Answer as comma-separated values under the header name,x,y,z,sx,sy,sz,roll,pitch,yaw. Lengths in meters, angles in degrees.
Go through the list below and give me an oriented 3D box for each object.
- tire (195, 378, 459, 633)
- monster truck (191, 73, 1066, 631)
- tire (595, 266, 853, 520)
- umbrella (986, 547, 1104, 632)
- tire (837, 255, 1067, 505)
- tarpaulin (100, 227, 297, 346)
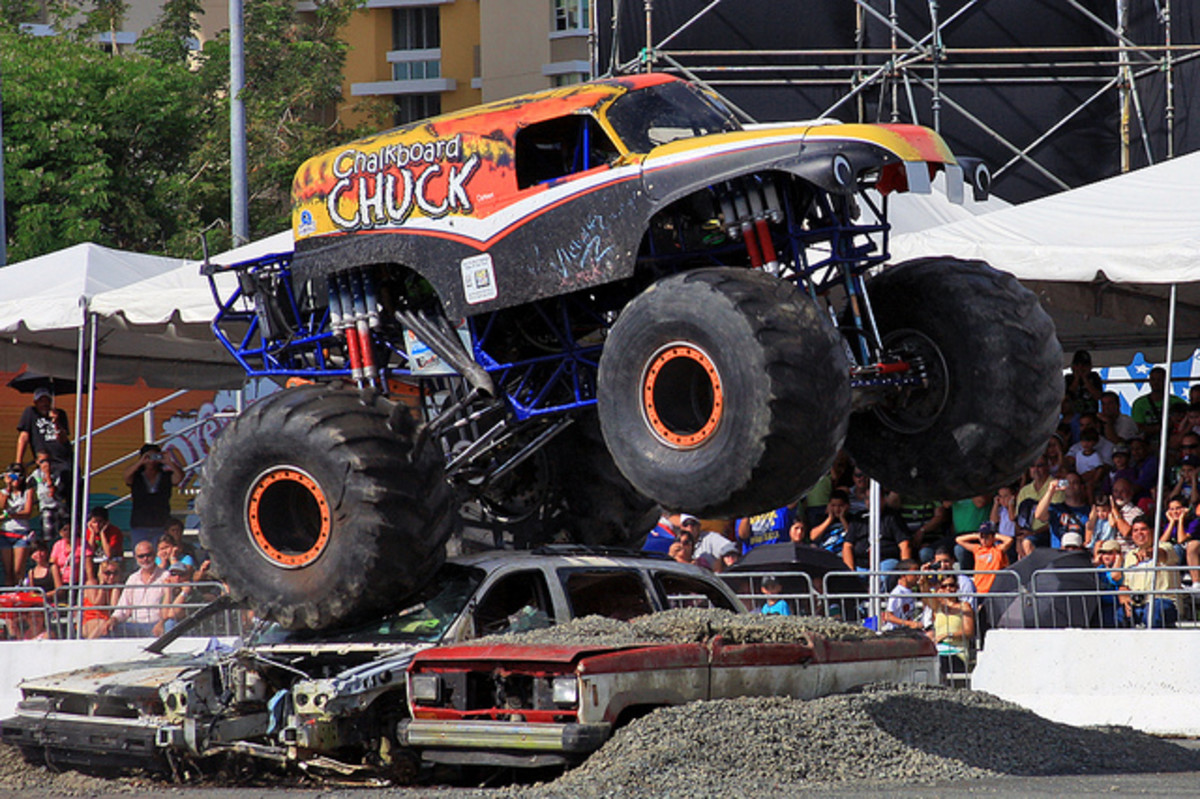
name,x,y,z,sx,sy,sz,roll,pitch,yaw
tire,-3.455,1.366,29.228,2.955,2.671,1.066,-3,1,37
monster truck,-0.241,-0.740,29.992,9.650,5.579,6.169,-15,-5,34
tire,1.364,-0.049,28.431,1.404,2.820,3.005,-5,11,-40
umbrella,5.751,2.517,31.864,1.355,0.753,0.959,0,2,13
tire,4.134,-0.144,29.719,1.128,2.935,3.085,3,2,-23
tarpaulin,-5.752,-1.482,34.531,2.036,0.829,2.093,-18,-8,41
